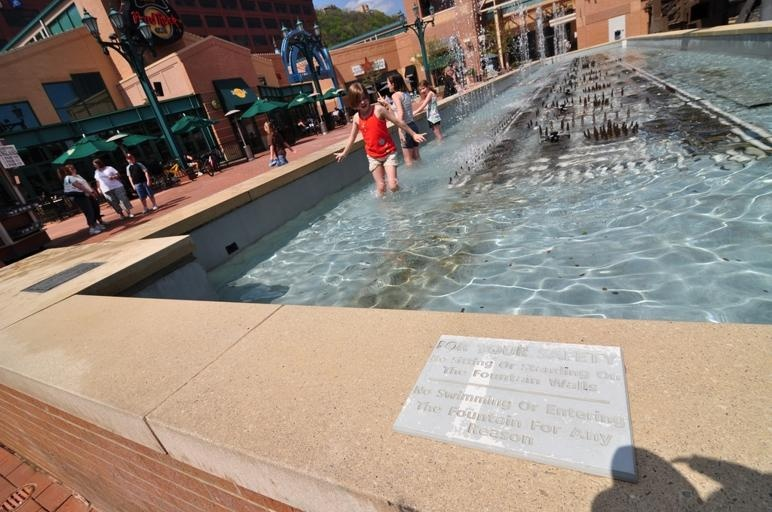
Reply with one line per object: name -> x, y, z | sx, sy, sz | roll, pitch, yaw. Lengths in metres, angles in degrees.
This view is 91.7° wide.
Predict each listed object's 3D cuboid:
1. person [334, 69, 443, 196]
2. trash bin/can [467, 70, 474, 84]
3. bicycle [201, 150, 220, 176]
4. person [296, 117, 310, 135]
person -> -0.084, -2.092, 7.142 | 0.940, 2.180, 1.013 | -13, 25, -1
trash bin/can -> 11.395, -23.341, 49.272 | 0.985, 1.604, 1.435 | -6, 25, 14
bicycle -> -8.426, -4.250, 17.988 | 0.707, 0.764, 2.426 | -21, 26, -20
person -> -6.431, -9.893, 29.131 | 0.674, 0.667, 2.049 | -3, 1, 7
